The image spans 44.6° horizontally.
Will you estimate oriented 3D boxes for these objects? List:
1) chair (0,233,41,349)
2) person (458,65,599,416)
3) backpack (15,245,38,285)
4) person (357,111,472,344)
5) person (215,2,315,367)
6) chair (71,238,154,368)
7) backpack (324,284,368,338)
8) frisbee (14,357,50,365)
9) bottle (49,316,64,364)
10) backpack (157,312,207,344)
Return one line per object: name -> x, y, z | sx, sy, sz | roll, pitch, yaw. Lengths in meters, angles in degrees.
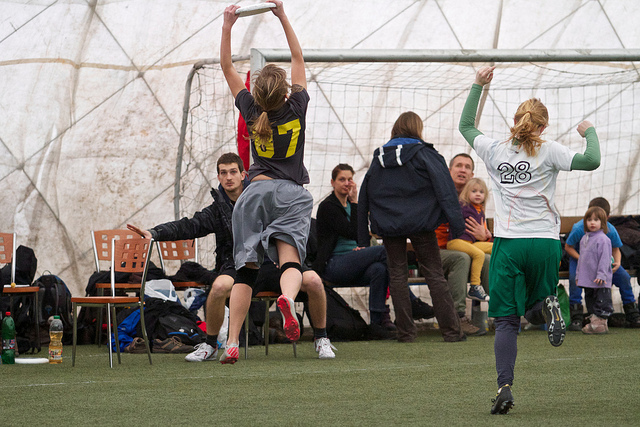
chair -> -3.633, 0.932, 9.505 | 0.484, 1.392, 0.504 | -2, -10, -12
person -> 1.644, 0.188, 6.298 | 1.228, 2.785, 1.106 | 3, -3, 15
backpack -> -3.705, 0.655, 9.952 | 0.270, 0.447, 0.346 | 15, 18, 11
person -> 1.081, 0.161, 9.229 | 1.229, 2.736, 0.687 | -5, -10, 10
person -> -0.499, -0.315, 7.273 | 0.887, 3.309, 0.586 | -4, -9, 3
chair -> -2.040, 0.857, 7.838 | 0.894, 1.271, 0.814 | 2, -1, -18
backpack -> 0.296, 1.217, 9.843 | 0.479, 0.670, 0.202 | 14, -45, -36
frisbee -> -3.063, 1.577, 8.336 | 0.346, 0.085, 0.442 | 0, -10, -20
bottle -> -2.795, 1.347, 8.293 | 0.133, 0.494, 0.284 | 0, -10, -19
backpack -> -1.589, 1.361, 9.085 | 0.477, 0.149, 0.384 | 16, 11, 20
